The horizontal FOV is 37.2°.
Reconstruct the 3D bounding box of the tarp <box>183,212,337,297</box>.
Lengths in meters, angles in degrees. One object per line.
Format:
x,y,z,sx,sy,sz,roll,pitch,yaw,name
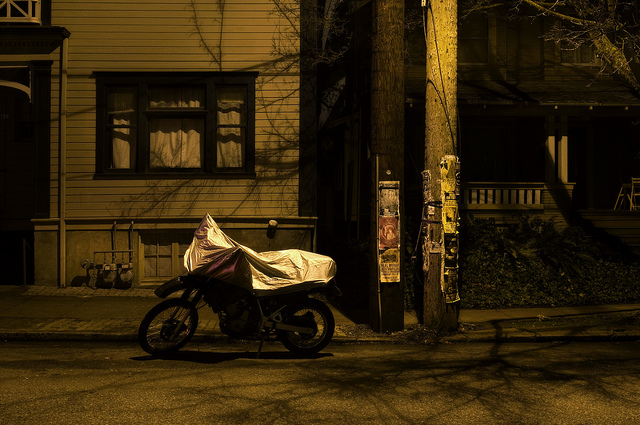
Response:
-1.385,0.986,21.759,2.733,1.018,1.870,5,17,-12,tarp

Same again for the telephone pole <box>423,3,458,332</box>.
2.979,-1.126,23.530,0.842,8.118,0.571,-1,-3,4,telephone pole

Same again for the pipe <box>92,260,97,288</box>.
-6.429,1.733,27.154,0.122,0.786,0.287,0,-3,-12,pipe
